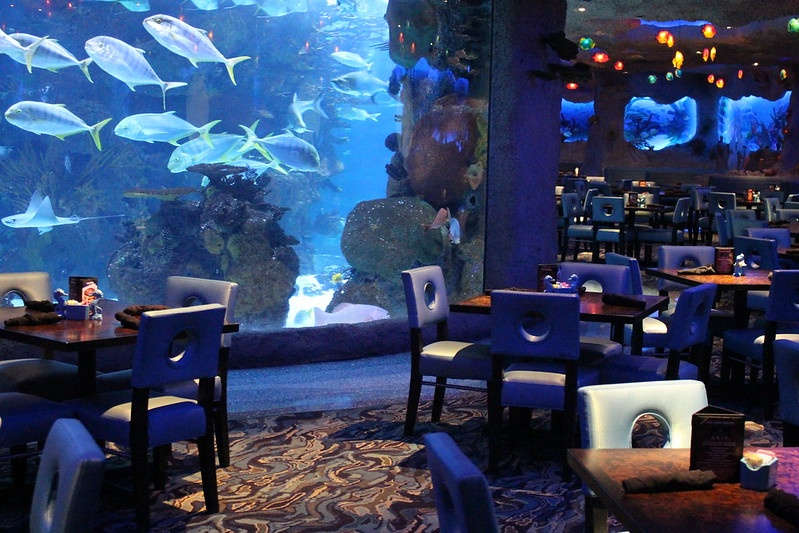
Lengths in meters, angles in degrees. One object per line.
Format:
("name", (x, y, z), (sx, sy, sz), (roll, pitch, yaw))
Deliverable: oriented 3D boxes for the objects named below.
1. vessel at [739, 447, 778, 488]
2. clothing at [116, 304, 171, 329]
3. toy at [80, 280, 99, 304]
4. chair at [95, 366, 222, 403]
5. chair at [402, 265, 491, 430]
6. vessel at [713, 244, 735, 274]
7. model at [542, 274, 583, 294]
("vessel", (1.444, 0.811, 2.613), (0.126, 0.118, 0.176), (2, 3, 42))
("clothing", (-1.700, 0.318, 4.211), (0.240, 0.068, 0.225), (2, 16, -1))
("toy", (-2.160, 0.170, 4.487), (0.106, 0.097, 0.179), (14, 28, -15))
("chair", (-1.710, 0.821, 4.483), (0.443, 0.172, 0.418), (-2, -7, 38))
("chair", (0.504, 0.668, 5.231), (1.054, 1.250, 0.939), (0, 5, -4))
("vessel", (2.964, -0.061, 5.924), (0.164, 0.241, 0.240), (5, 13, 24))
("model", (1.238, 0.118, 4.969), (0.247, 0.135, 0.165), (-1, 4, 13))
